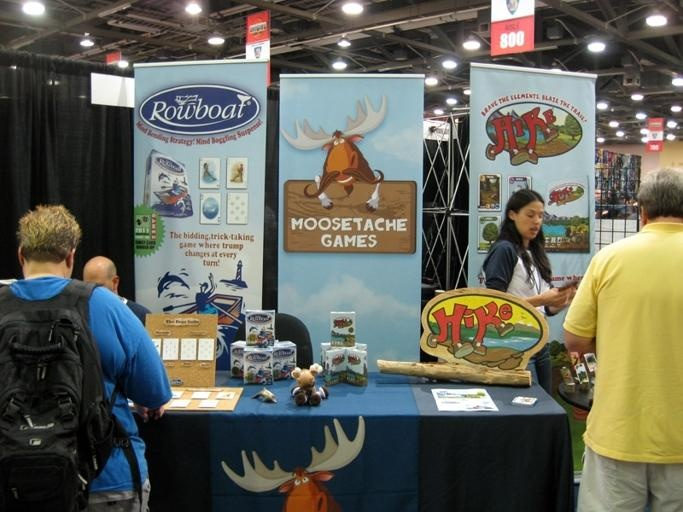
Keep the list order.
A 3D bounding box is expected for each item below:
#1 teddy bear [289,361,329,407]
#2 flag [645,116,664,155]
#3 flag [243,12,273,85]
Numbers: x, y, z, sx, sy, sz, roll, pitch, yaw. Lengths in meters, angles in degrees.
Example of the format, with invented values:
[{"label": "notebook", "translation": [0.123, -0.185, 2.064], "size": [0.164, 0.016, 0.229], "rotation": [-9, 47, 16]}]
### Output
[{"label": "teddy bear", "translation": [-0.169, 0.645, 3.143], "size": [0.214, 0.207, 0.318], "rotation": [-1, -7, -2]}, {"label": "flag", "translation": [7.238, -2.822, 14.454], "size": [0.299, 0.752, 0.458], "rotation": [0, 4, 25]}, {"label": "flag", "translation": [-0.980, -2.643, 7.433], "size": [0.280, 0.786, 0.888], "rotation": [-3, 4, -7]}]
